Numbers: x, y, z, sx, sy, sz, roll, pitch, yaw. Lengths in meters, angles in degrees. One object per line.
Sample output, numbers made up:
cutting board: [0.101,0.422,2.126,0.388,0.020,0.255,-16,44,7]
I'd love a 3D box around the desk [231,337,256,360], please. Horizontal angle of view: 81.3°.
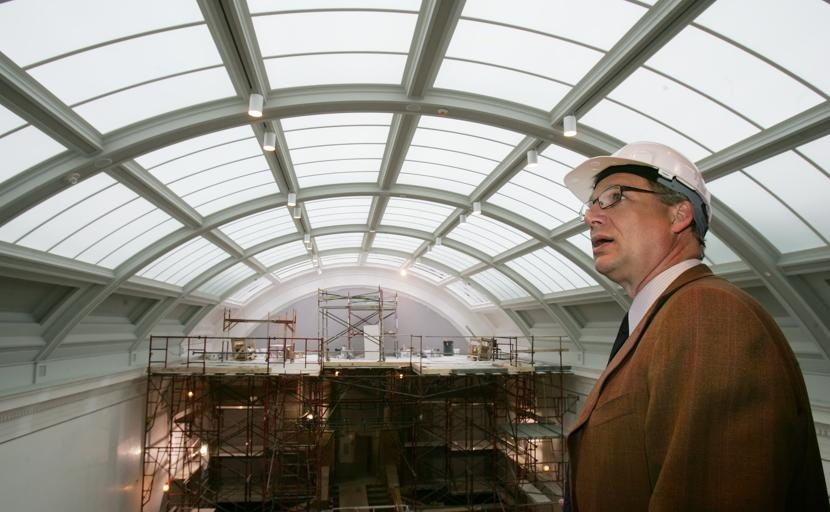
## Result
desk: [-10.863,5.946,30.610,1.696,1.284,2.688,2,-3,-13]

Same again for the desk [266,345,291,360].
desk: [-8.987,6.445,32.411,1.137,1.240,4.449,3,-17,-20]
